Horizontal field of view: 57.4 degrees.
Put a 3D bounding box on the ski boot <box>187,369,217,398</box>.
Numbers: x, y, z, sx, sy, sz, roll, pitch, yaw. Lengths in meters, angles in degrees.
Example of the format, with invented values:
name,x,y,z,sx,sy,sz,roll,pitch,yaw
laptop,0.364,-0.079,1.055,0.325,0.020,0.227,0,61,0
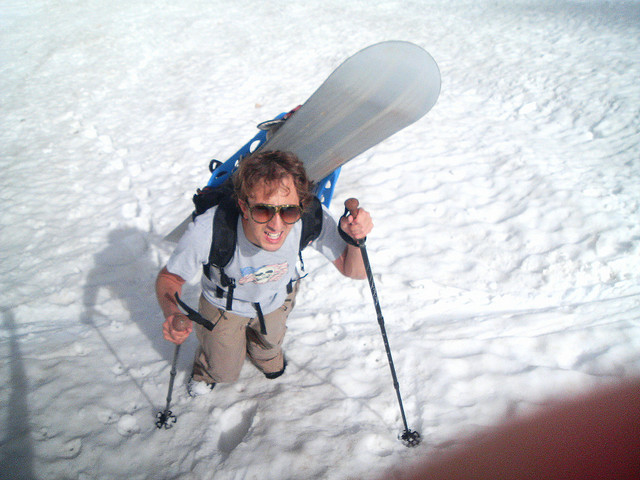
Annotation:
name,x,y,z,sx,sy,sz,roll,pitch,yaw
ski boot,-1.344,1.649,6.600,0.295,0.251,0.195,13,42,6

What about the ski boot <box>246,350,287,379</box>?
name,x,y,z,sx,sy,sz,roll,pitch,yaw
ski boot,-0.580,1.415,6.761,0.472,0.333,0.284,-9,45,-19
